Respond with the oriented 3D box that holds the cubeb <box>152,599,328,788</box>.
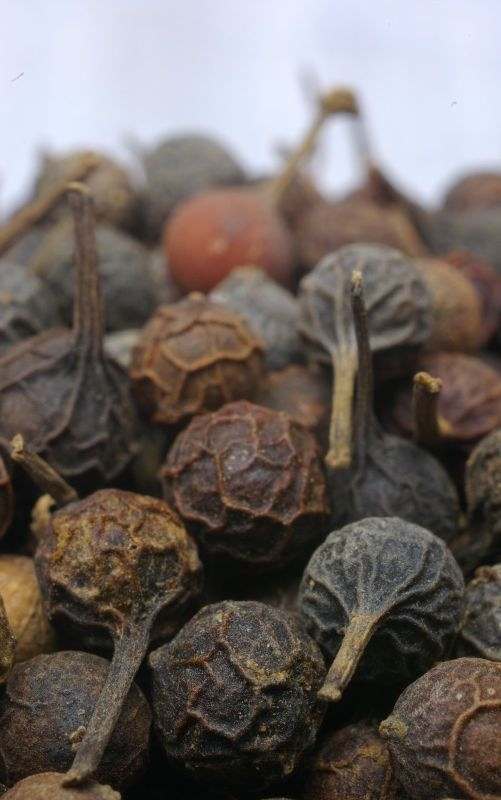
[{"bbox_3d":[-0.017,0.501,1.467,0.289,0.278,0.231,-5,23,-7],"label":"cubeb"}]
